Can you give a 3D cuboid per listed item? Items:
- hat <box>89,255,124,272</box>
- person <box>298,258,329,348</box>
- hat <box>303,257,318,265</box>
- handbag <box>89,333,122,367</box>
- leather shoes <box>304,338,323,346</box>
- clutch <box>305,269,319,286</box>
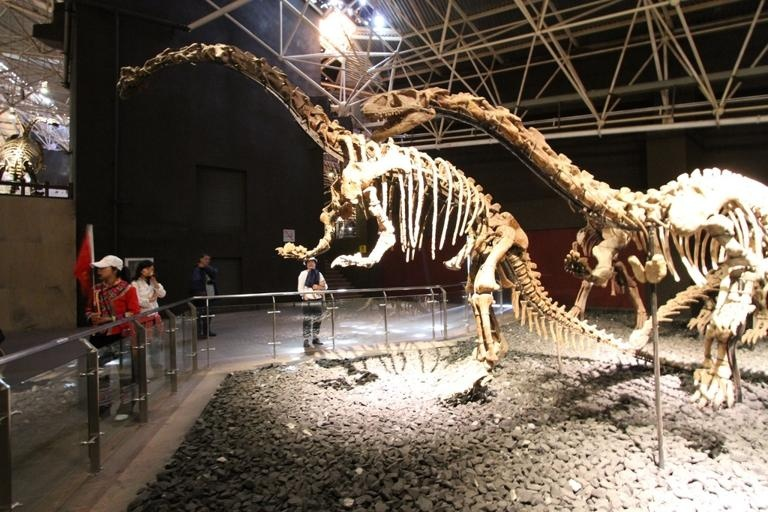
[{"bbox_3d":[-3.673,0.092,6.498,0.507,0.249,0.330,5,-8,-40],"label":"hat"},{"bbox_3d":[-1.344,0.864,9.066,0.501,1.703,0.925,-3,4,-9],"label":"person"},{"bbox_3d":[-1.369,0.089,8.829,0.289,0.127,0.402,0,-6,-9],"label":"hat"},{"bbox_3d":[-3.432,1.156,5.956,0.099,0.346,0.384,-2,11,41],"label":"handbag"},{"bbox_3d":[-1.332,1.601,8.961,0.374,0.141,0.122,-1,5,-16],"label":"leather shoes"},{"bbox_3d":[-1.391,0.426,9.434,0.298,0.295,0.134,7,-4,-7],"label":"clutch"}]
